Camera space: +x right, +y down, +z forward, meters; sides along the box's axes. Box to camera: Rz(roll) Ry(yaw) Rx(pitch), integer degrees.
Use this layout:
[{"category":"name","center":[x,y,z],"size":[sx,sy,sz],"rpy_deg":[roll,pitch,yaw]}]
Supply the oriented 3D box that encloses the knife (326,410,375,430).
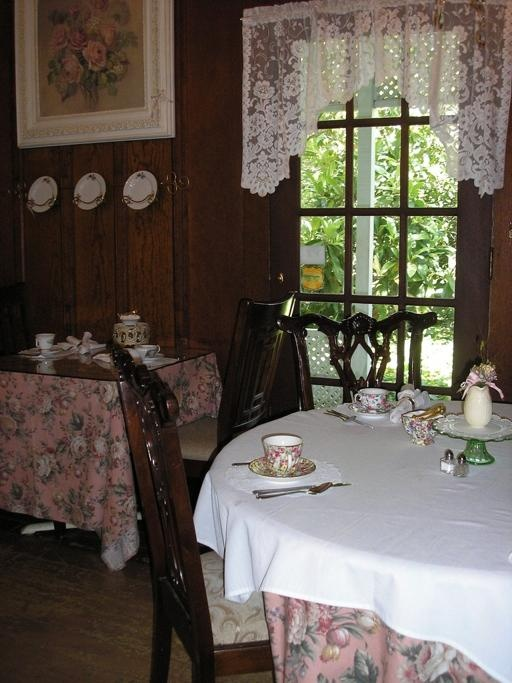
[{"category":"knife","center":[0.244,0.196,1.468],"size":[0.035,0.014,0.165],"rpy_deg":[34,-15,-25]}]

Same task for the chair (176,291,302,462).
[{"category":"chair","center":[-0.060,0.128,2.221],"size":[0.470,0.769,0.428],"rpy_deg":[13,27,19]}]

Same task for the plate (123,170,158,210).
[{"category":"plate","center":[-0.600,-0.800,2.957],"size":[0.207,0.193,0.067],"rpy_deg":[5,7,34]}]

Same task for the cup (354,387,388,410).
[{"category":"cup","center":[0.304,0.146,1.526],"size":[0.062,0.046,0.055],"rpy_deg":[-4,9,-11]}]

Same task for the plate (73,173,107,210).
[{"category":"plate","center":[-0.890,-0.820,3.092],"size":[0.183,0.201,0.032],"rpy_deg":[14,0,26]}]

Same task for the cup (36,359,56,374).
[{"category":"cup","center":[-0.814,0.099,2.197],"size":[0.059,0.029,0.082],"rpy_deg":[4,21,-11]}]

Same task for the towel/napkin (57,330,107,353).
[{"category":"towel/napkin","center":[-0.779,0.013,2.552],"size":[0.129,0.057,0.136],"rpy_deg":[3,3,0]}]

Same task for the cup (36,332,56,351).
[{"category":"cup","center":[-0.910,-0.002,2.483],"size":[0.076,0.072,0.086],"rpy_deg":[-2,-9,23]}]

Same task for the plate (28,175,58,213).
[{"category":"plate","center":[-1.199,-0.837,3.185],"size":[0.188,0.195,0.058],"rpy_deg":[2,6,13]}]

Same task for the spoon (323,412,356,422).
[{"category":"spoon","center":[0.220,0.194,1.488],"size":[0.022,0.012,0.079],"rpy_deg":[-21,17,-29]}]
